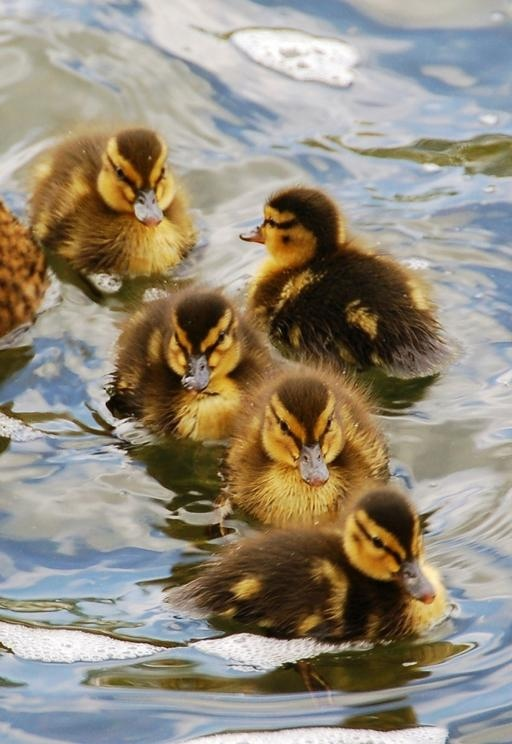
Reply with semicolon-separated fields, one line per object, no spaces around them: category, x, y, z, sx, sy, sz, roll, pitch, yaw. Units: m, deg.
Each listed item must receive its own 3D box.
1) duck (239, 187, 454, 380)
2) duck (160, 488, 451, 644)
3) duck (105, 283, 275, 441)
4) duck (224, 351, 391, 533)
duck;0.352;-0.383;3.784;0.653;0.702;1.096;-29;38;-27
duck;0.144;0.585;2.410;0.724;0.361;0.395;10;87;12
duck;-0.266;0.014;3.522;0.769;0.618;0.941;-6;19;-16
duck;0.145;0.236;3.048;0.661;0.581;0.901;-1;26;-1
